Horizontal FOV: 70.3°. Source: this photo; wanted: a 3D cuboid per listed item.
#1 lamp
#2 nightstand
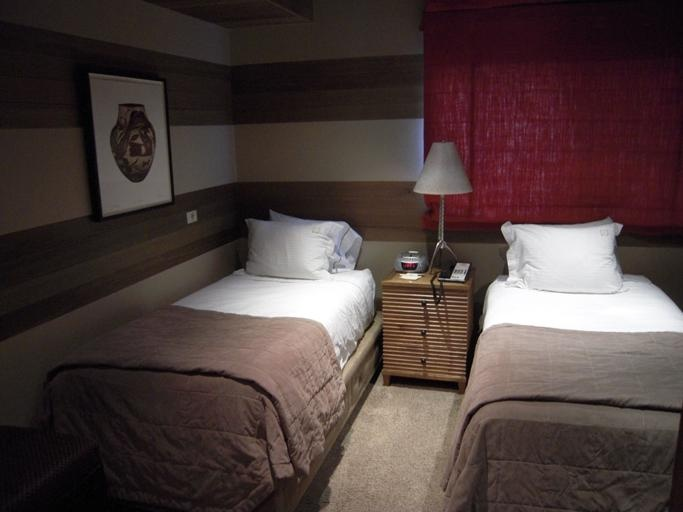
[{"bbox_3d":[0.780,-0.365,3.703,0.409,0.988,0.452,3,13,15],"label":"lamp"},{"bbox_3d":[0.645,0.560,4.005,0.745,1.166,0.794,1,8,14],"label":"nightstand"}]
